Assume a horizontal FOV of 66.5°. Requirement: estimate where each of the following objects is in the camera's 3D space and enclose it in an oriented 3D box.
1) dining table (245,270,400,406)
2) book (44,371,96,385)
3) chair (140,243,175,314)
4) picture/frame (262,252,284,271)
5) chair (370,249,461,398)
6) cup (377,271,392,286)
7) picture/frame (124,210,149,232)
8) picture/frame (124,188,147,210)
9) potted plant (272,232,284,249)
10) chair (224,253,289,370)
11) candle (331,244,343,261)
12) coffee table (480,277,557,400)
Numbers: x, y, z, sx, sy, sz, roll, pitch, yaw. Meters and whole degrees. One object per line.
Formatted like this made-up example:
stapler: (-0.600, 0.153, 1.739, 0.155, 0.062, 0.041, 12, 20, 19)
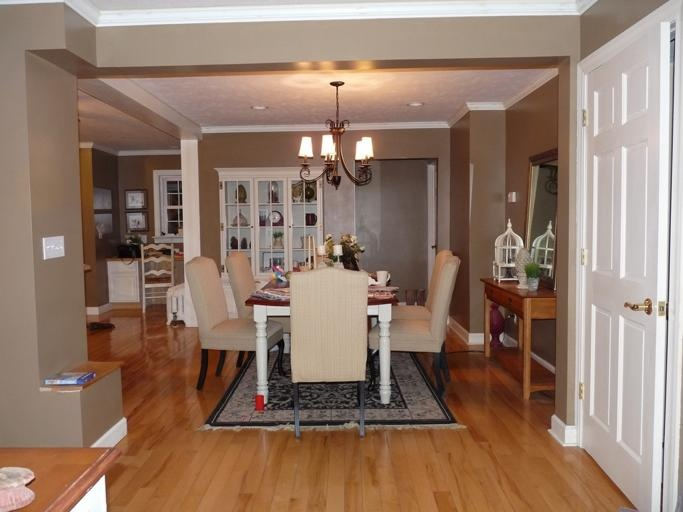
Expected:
dining table: (-0.155, 0.551, 4.525, 1.055, 0.821, 1.290, -1, 2, 2)
book: (-1.803, 0.814, 3.505, 0.260, 0.058, 0.250, -1, 8, -3)
chair: (-2.936, 0.319, 8.337, 0.542, 1.057, 0.844, -4, 9, -22)
picture/frame: (-0.893, 0.067, 6.835, 0.224, 0.223, 0.082, 0, 6, 2)
chair: (0.547, 0.531, 5.178, 1.057, 1.685, 1.190, 2, 3, 7)
cup: (0.403, 0.223, 5.067, 0.109, 0.126, 0.171, -1, -9, 3)
picture/frame: (-3.571, -0.629, 9.071, 0.334, 0.353, 0.024, 1, 10, -3)
picture/frame: (-3.561, -1.008, 9.011, 0.316, 0.343, 0.025, 1, 14, -12)
potted plant: (-0.851, -0.209, 7.021, 0.183, 0.220, 0.188, -1, 2, -14)
chair: (-0.905, 0.368, 5.283, 0.794, 1.415, 0.738, -2, 5, 2)
candle: (-0.036, -0.032, 5.007, 0.120, 0.177, 0.140, -1, 5, 2)
coffee table: (1.658, 0.779, 4.864, 0.314, 0.635, 0.994, 0, 1, 2)
